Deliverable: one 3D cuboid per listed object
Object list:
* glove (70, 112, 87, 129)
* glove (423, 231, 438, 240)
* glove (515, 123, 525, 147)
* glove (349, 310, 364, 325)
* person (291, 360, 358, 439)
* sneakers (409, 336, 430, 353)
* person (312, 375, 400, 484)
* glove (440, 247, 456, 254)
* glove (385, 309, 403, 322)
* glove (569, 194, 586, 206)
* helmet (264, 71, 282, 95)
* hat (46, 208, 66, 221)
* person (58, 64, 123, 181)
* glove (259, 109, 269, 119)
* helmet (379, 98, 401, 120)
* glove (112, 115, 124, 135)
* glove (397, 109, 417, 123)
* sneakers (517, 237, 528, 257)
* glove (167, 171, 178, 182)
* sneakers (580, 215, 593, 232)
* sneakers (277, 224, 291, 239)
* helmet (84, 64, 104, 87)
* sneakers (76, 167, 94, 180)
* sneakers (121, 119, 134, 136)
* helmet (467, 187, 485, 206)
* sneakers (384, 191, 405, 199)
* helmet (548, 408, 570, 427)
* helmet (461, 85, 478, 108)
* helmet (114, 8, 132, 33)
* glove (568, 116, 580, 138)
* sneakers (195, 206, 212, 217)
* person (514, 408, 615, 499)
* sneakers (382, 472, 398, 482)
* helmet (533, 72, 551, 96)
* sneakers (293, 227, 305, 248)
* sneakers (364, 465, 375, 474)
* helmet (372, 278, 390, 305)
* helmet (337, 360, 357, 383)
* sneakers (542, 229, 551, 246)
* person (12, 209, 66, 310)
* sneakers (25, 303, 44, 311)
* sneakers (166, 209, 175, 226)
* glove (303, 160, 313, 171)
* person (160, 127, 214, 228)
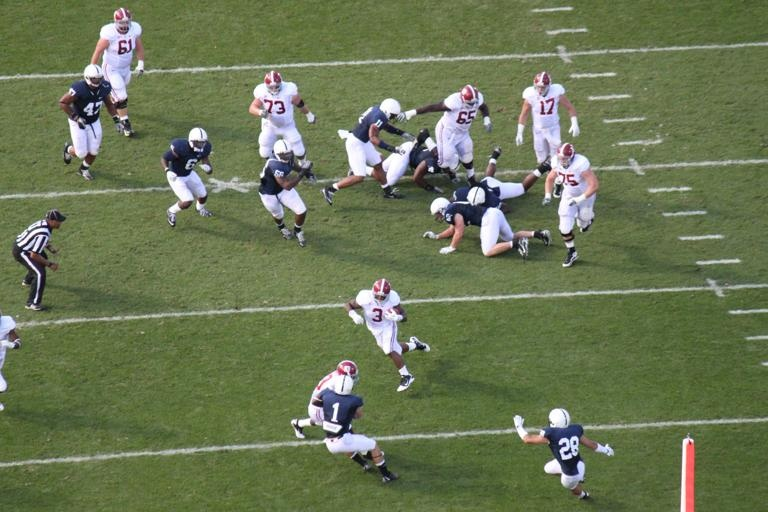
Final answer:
[{"bbox_3d":[-5.064,-2.260,23.496,0.267,0.218,0.117,19,18,22],"label":"glove"},{"bbox_3d":[0.745,-0.370,23.211,0.267,0.113,0.129,11,29,17],"label":"glove"},{"bbox_3d":[2.250,-2.093,23.830,0.150,0.130,0.428,12,61,16],"label":"glove"},{"bbox_3d":[-0.451,0.897,21.218,0.290,0.076,0.163,15,17,-19],"label":"glove"},{"bbox_3d":[-0.963,2.049,20.731,0.482,1.351,0.768,23,27,-36],"label":"person"},{"bbox_3d":[0.546,1.330,21.653,0.423,0.122,0.174,16,5,-40],"label":"sneakers"},{"bbox_3d":[-0.447,2.582,20.732,1.519,1.564,1.047,3,43,3],"label":"person"},{"bbox_3d":[1.007,-0.111,22.992,0.231,0.103,0.089,-7,-2,12],"label":"glove"},{"bbox_3d":[0.114,0.866,21.186,0.243,0.097,0.164,18,8,-24],"label":"glove"},{"bbox_3d":[3.025,-0.903,22.362,0.230,0.090,0.124,-24,53,29],"label":"glove"},{"bbox_3d":[-1.884,-2.947,23.681,0.375,0.387,0.346,-4,-8,-12],"label":"helmet"},{"bbox_3d":[-5.115,-0.664,22.198,0.261,0.128,0.169,2,36,-34],"label":"hat"},{"bbox_3d":[-5.031,-2.274,23.767,0.633,1.887,0.729,13,32,16],"label":"person"},{"bbox_3d":[-2.011,-2.403,23.643,0.161,0.149,0.079,0,12,-2],"label":"glove"},{"bbox_3d":[0.086,-2.455,23.477,0.424,0.304,0.268,-5,67,-2],"label":"helmet"},{"bbox_3d":[-4.629,-2.290,24.489,0.144,0.336,0.169,-28,31,-21],"label":"glove"},{"bbox_3d":[0.371,-2.309,23.377,0.305,0.124,0.222,-30,39,-1],"label":"glove"},{"bbox_3d":[2.242,-0.160,22.807,0.150,0.317,0.159,1,43,18],"label":"sneakers"},{"bbox_3d":[-3.463,-1.319,23.072,0.182,0.177,0.081,16,33,24],"label":"glove"},{"bbox_3d":[3.251,-0.535,23.003,0.136,0.345,0.141,-9,63,-6],"label":"sneakers"},{"bbox_3d":[-1.648,-0.423,23.197,0.152,0.123,0.292,-47,48,0],"label":"sneakers"},{"bbox_3d":[-4.821,-3.040,23.570,0.295,0.312,0.420,-4,28,-12],"label":"helmet"},{"bbox_3d":[-5.031,-1.417,23.942,0.327,0.135,0.116,35,54,-15],"label":"sneakers"},{"bbox_3d":[-4.459,-2.244,24.572,0.100,0.194,0.276,-35,86,-39],"label":"sneakers"},{"bbox_3d":[1.503,-0.966,22.730,0.274,0.288,0.269,9,68,7],"label":"helmet"},{"bbox_3d":[0.142,-1.045,23.809,0.375,0.131,0.105,-1,46,-3],"label":"sneakers"},{"bbox_3d":[2.468,2.283,20.308,0.267,0.237,0.293,-3,12,-6],"label":"helmet"},{"bbox_3d":[1.377,-2.656,23.361,0.277,0.300,0.297,-13,-11,-4],"label":"helmet"},{"bbox_3d":[-4.528,-4.100,24.528,0.269,0.347,0.351,-2,29,-9],"label":"helmet"},{"bbox_3d":[3.163,-2.243,23.733,0.170,0.118,0.404,8,40,-4],"label":"glove"},{"bbox_3d":[-2.986,-0.759,23.500,0.318,0.118,0.099,6,69,9],"label":"sneakers"},{"bbox_3d":[2.606,2.900,20.460,1.613,1.197,0.665,4,18,17],"label":"person"},{"bbox_3d":[0.069,3.201,20.644,0.303,0.105,0.098,-5,43,-12],"label":"sneakers"},{"bbox_3d":[2.604,-2.898,23.560,0.339,0.365,0.353,2,-14,7],"label":"helmet"},{"bbox_3d":[-1.401,-0.339,23.118,0.134,0.338,0.172,-28,2,-25],"label":"sneakers"},{"bbox_3d":[-0.215,3.084,20.720,0.076,0.069,0.183,-16,20,-40],"label":"sneakers"},{"bbox_3d":[-0.068,0.480,21.189,0.289,0.301,0.295,4,3,-10],"label":"helmet"},{"bbox_3d":[-0.514,1.624,20.591,0.271,0.249,0.305,7,15,10],"label":"helmet"},{"bbox_3d":[2.590,-0.318,22.890,0.115,0.262,0.114,-5,42,2],"label":"sneakers"},{"bbox_3d":[-5.458,0.109,22.455,0.909,1.491,0.874,5,47,-24],"label":"person"},{"bbox_3d":[-5.503,0.782,22.376,0.296,0.105,0.094,3,10,2],"label":"sneakers"},{"bbox_3d":[-3.499,-0.653,23.318,0.114,0.261,0.137,-22,6,-41],"label":"sneakers"},{"bbox_3d":[-1.245,-1.464,22.681,0.124,0.202,0.196,4,28,2],"label":"glove"},{"bbox_3d":[-3.226,-1.381,23.290,0.749,1.678,0.880,6,30,5],"label":"person"}]
